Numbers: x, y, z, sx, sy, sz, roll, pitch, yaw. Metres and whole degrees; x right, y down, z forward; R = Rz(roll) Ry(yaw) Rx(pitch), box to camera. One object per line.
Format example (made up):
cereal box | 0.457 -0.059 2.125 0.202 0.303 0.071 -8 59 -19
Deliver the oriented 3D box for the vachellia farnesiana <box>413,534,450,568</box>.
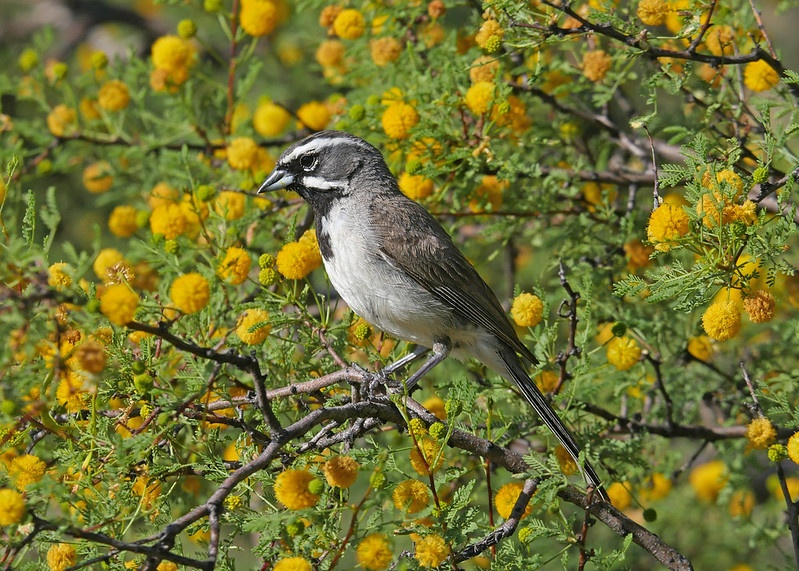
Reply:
vachellia farnesiana | 0.171 1.516 4.795 0.219 0.124 0.186 -23 -62 17
